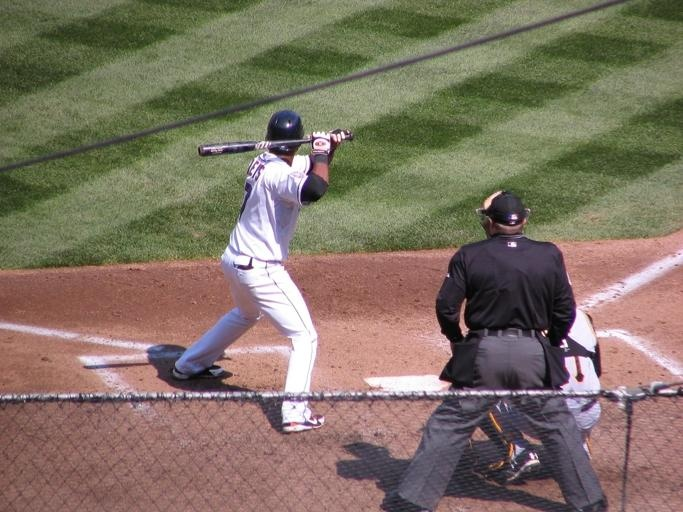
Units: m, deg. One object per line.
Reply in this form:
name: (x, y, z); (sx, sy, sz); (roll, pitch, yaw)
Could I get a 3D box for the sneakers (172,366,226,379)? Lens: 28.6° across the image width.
sneakers: (-1.309, 1.072, 12.303); (0.457, 0.142, 0.154); (-6, 16, -13)

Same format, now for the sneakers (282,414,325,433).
sneakers: (-0.323, 1.447, 11.583); (0.421, 0.133, 0.122); (-9, 23, -11)

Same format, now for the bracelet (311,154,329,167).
bracelet: (-0.192, -0.838, 11.624); (0.145, 0.076, 0.076); (-4, 17, -7)

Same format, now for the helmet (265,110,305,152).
helmet: (-0.474, -1.113, 11.760); (0.328, 0.346, 0.360); (8, 61, 8)

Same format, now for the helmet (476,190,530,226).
helmet: (1.355, -0.450, 11.397); (0.434, 0.256, 0.513); (-4, 23, -13)
